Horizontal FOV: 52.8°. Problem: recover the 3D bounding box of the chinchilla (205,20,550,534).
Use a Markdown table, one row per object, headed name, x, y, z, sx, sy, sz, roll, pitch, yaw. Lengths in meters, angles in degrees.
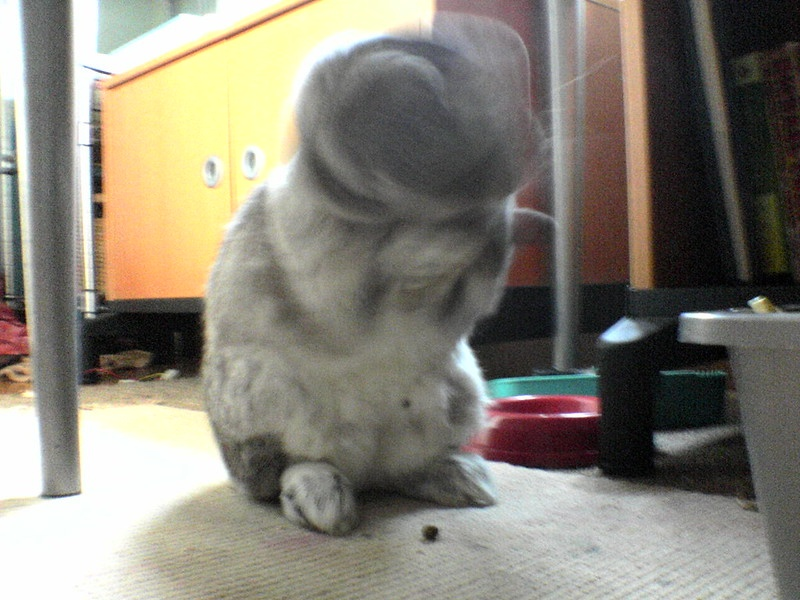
| name | x | y | z | sx | sy | sz | roll | pitch | yaw |
| --- | --- | --- | --- | --- | --- | --- | --- | --- | --- |
| chinchilla | -0.045 | -0.030 | 1.022 | 0.415 | 0.629 | 0.256 | -3 | 11 | -14 |
